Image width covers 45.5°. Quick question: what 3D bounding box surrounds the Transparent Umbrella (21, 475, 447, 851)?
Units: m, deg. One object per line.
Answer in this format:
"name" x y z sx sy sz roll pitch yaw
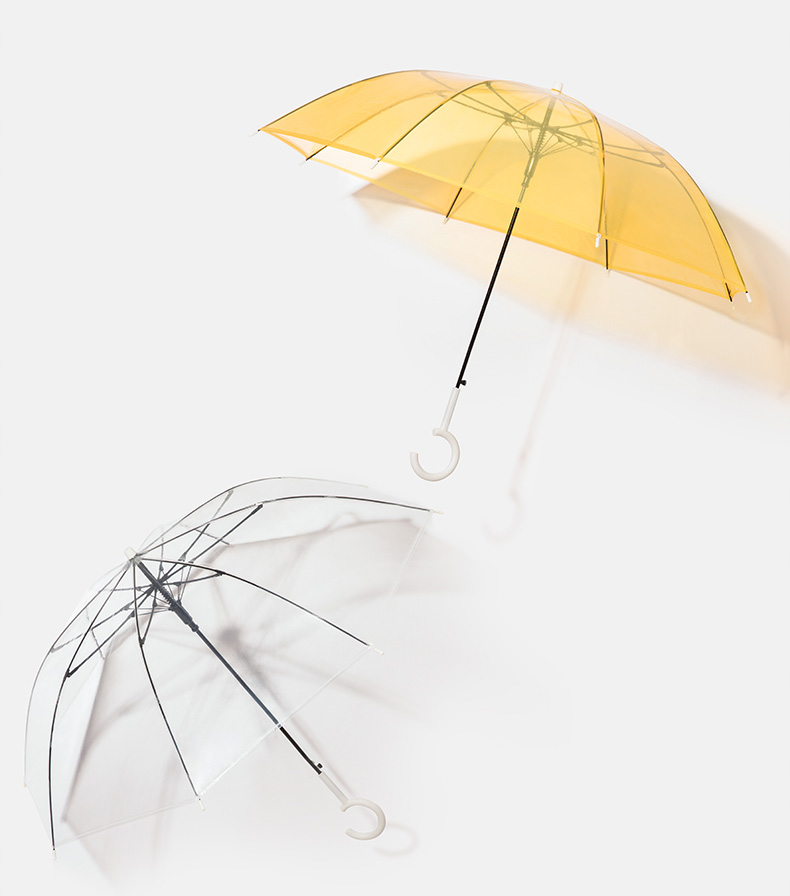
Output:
"Transparent Umbrella" -0.382 0.406 2.112 0.616 0.783 0.799 19 -90 32

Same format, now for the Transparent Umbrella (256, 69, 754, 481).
"Transparent Umbrella" 0.308 -0.549 2.299 0.952 0.982 0.838 25 -95 9
